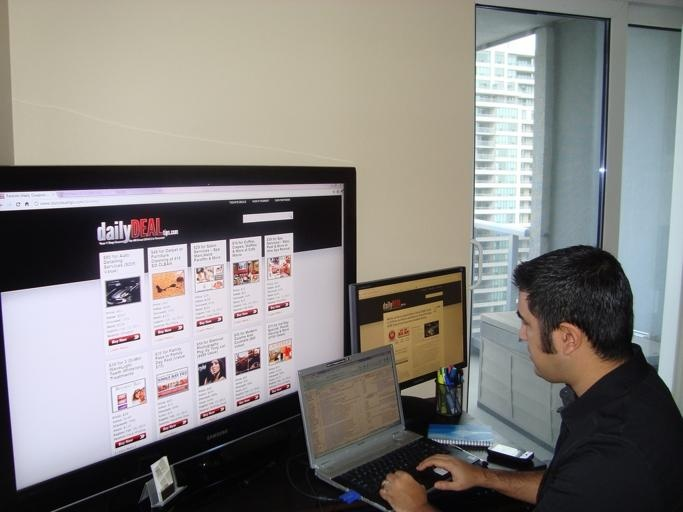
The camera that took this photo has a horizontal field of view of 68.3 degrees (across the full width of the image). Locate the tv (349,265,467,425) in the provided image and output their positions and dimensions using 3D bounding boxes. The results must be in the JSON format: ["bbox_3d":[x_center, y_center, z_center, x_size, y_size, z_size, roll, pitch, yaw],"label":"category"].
[{"bbox_3d":[0.220,0.297,1.649,0.471,0.463,0.159,-6,4,-34],"label":"tv"}]

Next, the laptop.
[{"bbox_3d":[0.128,0.474,1.411,0.456,0.347,0.378,-7,8,-42],"label":"laptop"}]
